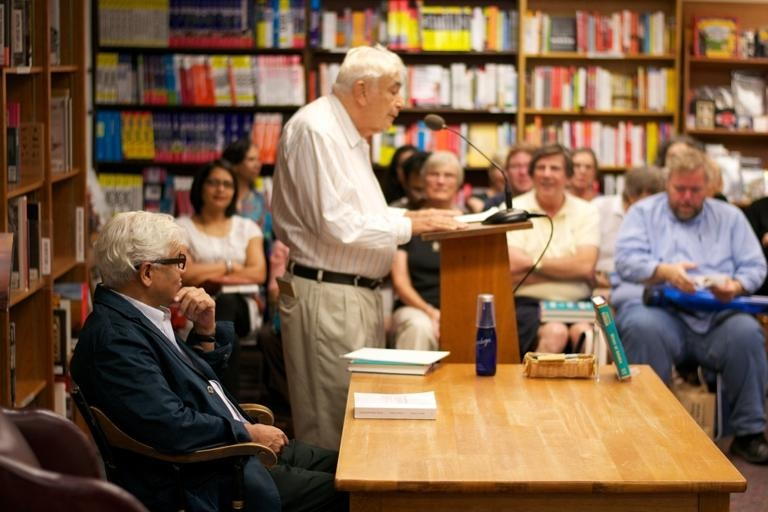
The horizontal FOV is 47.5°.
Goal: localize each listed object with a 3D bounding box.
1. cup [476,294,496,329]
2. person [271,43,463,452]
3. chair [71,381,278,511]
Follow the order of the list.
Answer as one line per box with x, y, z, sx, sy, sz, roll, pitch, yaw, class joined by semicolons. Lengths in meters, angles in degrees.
0.447;0.233;3.817;0.068;0.139;0.119;0;9;9;cup
-0.105;0.221;4.412;0.841;2.428;0.854;0;10;-15;person
-0.828;0.685;3.544;0.639;0.653;0.508;-2;4;-1;chair
